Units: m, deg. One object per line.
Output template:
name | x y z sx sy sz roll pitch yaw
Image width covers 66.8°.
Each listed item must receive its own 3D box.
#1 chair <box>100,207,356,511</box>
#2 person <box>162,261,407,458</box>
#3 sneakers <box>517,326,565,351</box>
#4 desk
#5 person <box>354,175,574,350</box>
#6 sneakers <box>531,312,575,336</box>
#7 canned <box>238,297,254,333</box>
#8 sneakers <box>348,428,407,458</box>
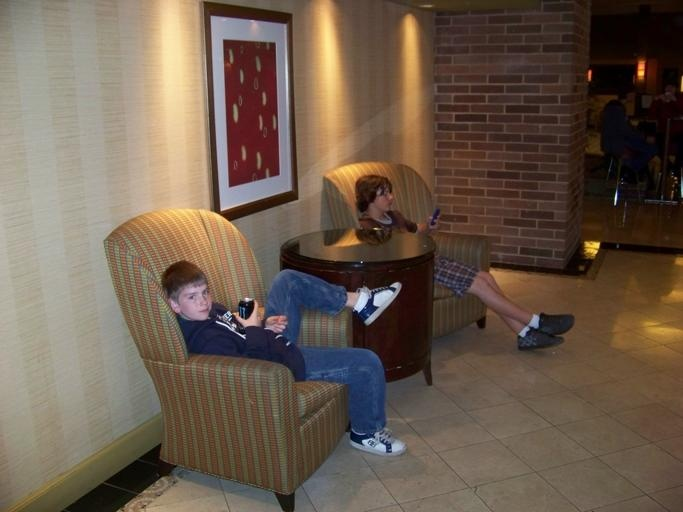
chair | -0.511 0.421 2.631 1.023 1.242 0.841 8 22 25
person | -0.332 0.510 2.661 1.590 0.872 0.596 8 9 -38
sneakers | 1.466 0.625 3.919 0.383 0.165 0.138 -4 25 14
desk | 0.159 0.252 3.537 1.003 0.939 0.977 -18 25 -42
person | 0.951 0.007 4.027 1.890 1.106 0.911 22 23 24
sneakers | 1.568 0.508 3.942 0.373 0.130 0.129 -6 43 8
canned | -0.417 0.257 2.417 0.104 0.141 0.102 0 12 -5
sneakers | 0.201 1.010 2.871 0.346 0.128 0.116 1 12 12
